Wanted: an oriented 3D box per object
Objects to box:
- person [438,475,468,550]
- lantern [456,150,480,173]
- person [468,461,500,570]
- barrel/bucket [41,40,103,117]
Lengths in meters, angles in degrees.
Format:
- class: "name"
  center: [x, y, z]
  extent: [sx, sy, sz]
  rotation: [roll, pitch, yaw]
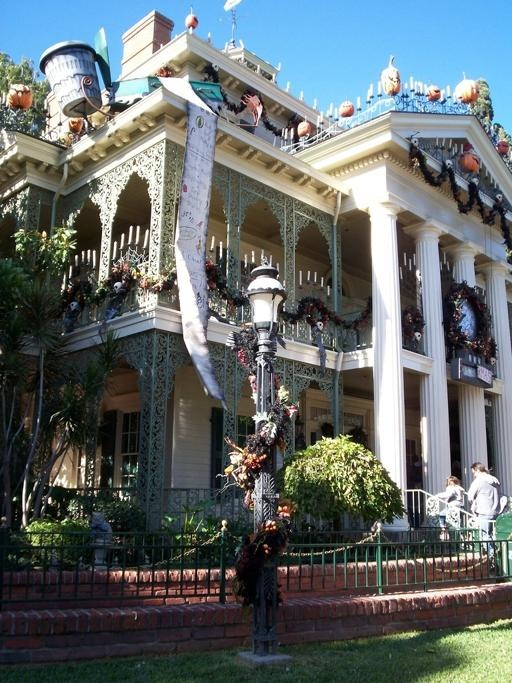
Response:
- class: "person"
  center: [3.581, 3.091, 13.029]
  extent: [0.496, 1.100, 0.484]
  rotation: [-4, -18, 42]
- class: "lantern"
  center: [5.392, -4.610, 17.707]
  extent: [0.619, 0.663, 0.347]
  rotation: [16, -24, -41]
- class: "person"
  center: [3.651, 2.656, 11.111]
  extent: [0.436, 1.479, 0.467]
  rotation: [-7, 3, -19]
- class: "barrel/bucket"
  center: [-3.618, -5.112, 13.733]
  extent: [1.132, 1.411, 0.986]
  rotation: [11, -21, -29]
